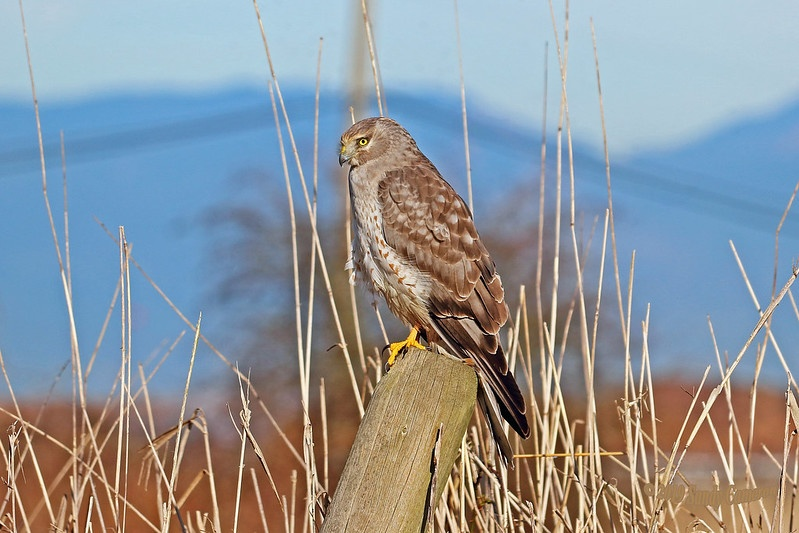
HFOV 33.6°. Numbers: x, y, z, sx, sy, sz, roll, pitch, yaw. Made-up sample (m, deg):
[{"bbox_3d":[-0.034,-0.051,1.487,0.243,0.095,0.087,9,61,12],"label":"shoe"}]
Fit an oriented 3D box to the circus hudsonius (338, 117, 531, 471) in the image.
[{"bbox_3d":[0.155,0.126,8.699,1.382,2.205,0.708,17,-45,-13],"label":"circus hudsonius"}]
